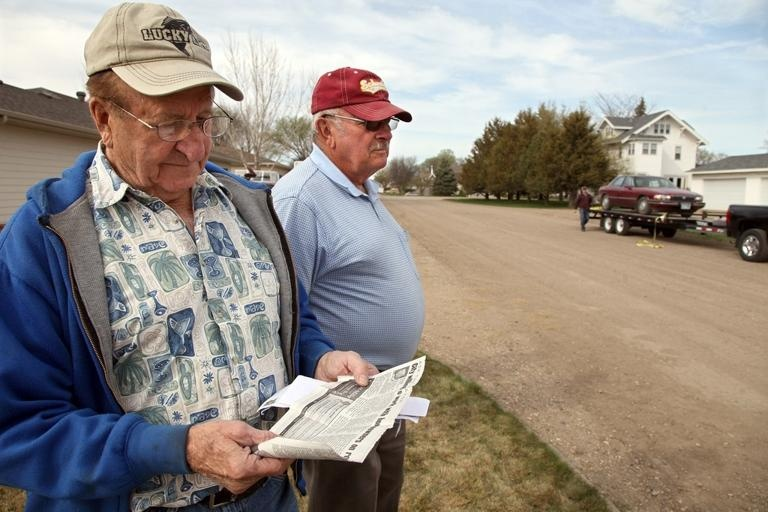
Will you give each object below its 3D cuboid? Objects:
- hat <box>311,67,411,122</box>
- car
[{"bbox_3d":[-0.160,-1.046,3.625,0.731,0.393,0.491,5,7,32],"label":"hat"},{"bbox_3d":[8.612,-1.944,18.169,1.477,1.156,3.596,0,7,-10],"label":"car"}]
